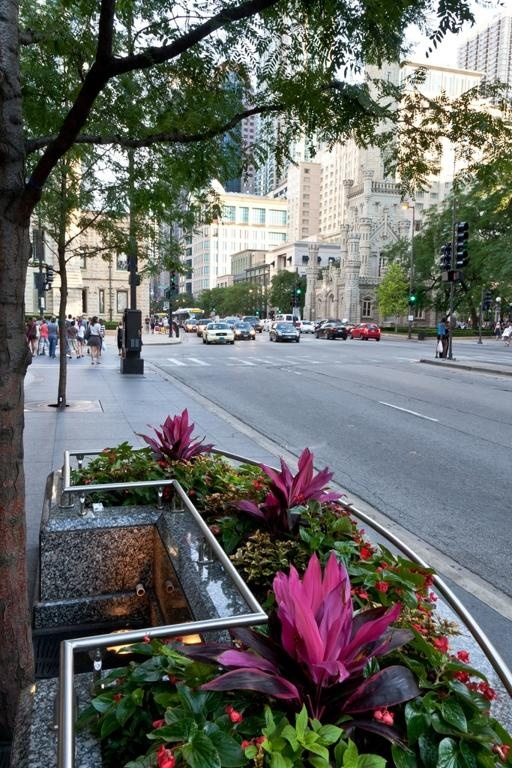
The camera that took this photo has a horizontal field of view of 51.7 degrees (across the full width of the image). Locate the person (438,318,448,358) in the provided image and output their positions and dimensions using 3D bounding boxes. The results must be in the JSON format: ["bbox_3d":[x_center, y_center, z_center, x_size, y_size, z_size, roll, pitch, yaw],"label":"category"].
[{"bbox_3d":[10.093,-2.429,28.559,0.447,2.163,1.521,2,5,18],"label":"person"}]

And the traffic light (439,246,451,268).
[{"bbox_3d":[9.397,-6.166,26.027,0.356,1.248,0.889,2,4,9],"label":"traffic light"}]
